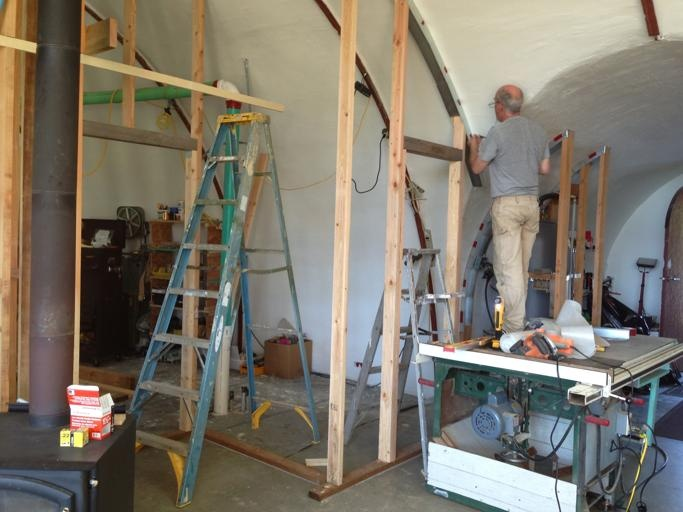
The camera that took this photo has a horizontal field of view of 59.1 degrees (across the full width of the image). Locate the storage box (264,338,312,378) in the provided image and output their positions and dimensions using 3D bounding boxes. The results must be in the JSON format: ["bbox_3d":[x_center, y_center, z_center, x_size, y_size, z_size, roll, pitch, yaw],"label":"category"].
[{"bbox_3d":[-0.639,1.220,7.272,0.606,0.577,0.634,-7,-11,9],"label":"storage box"}]

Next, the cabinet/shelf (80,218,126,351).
[{"bbox_3d":[-3.057,0.381,7.657,0.527,1.789,0.458,3,-1,-25],"label":"cabinet/shelf"}]

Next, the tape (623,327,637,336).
[{"bbox_3d":[2.306,0.611,4.789,0.028,0.039,0.227,2,-2,44],"label":"tape"}]

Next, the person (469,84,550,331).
[{"bbox_3d":[1.340,-0.439,4.883,0.544,1.372,0.510,2,-1,37],"label":"person"}]
